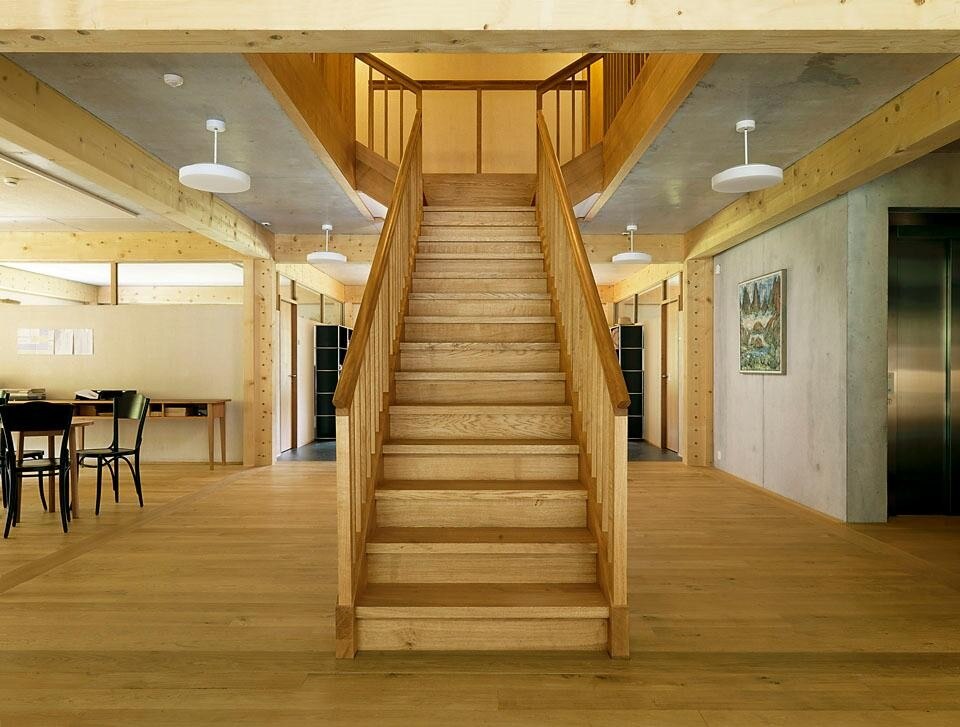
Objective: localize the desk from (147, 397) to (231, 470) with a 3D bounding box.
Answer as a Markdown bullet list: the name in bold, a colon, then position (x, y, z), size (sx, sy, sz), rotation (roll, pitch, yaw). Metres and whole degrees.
- **desk**: position (-3.448, 0.727, 9.830), size (0.989, 0.501, 0.625), rotation (2, -7, 8)

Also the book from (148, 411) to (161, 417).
- **book**: position (-3.625, 0.560, 9.470), size (0.088, 0.035, 0.074), rotation (0, 0, -11)
